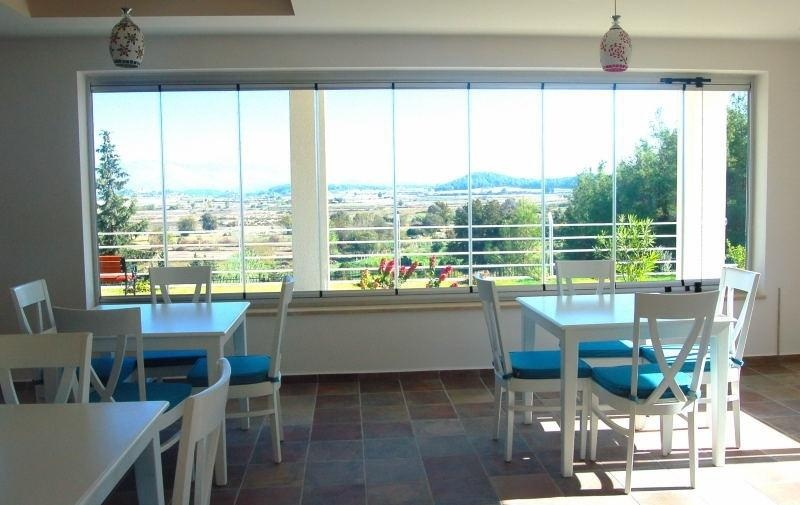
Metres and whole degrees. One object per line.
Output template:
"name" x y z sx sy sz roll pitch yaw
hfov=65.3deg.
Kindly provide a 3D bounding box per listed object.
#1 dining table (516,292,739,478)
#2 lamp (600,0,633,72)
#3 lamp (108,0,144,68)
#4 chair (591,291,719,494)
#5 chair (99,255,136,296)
"dining table" 1.765 0.881 5.293 1.493 1.236 1.450 -1 6 -6
"lamp" 1.760 -1.699 5.095 0.228 0.447 0.210 0 6 16
"lamp" -2.108 -1.658 4.844 0.236 0.450 0.181 -1 6 5
"chair" 1.860 1.001 4.698 0.884 1.467 0.556 0 6 12
"chair" -2.859 0.234 6.293 0.431 0.288 0.188 0 0 -3
